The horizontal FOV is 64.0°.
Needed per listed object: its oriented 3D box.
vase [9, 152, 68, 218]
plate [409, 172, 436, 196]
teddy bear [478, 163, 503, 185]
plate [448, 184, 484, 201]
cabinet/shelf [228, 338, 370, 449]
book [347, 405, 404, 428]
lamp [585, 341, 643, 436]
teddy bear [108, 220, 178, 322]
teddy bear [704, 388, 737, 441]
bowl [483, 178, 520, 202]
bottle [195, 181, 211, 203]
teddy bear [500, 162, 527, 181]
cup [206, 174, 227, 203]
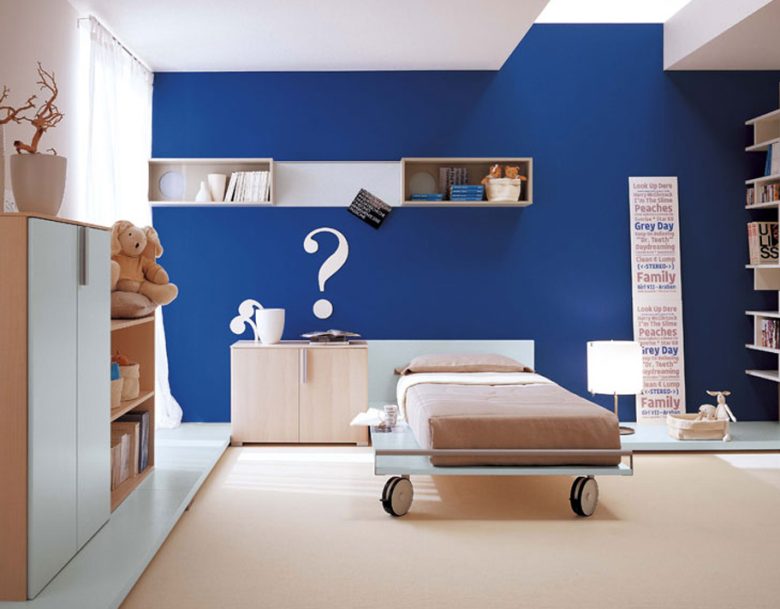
[{"bbox_3d":[-1.753,-0.579,3.196,0.316,0.377,0.321,1,1,-31],"label":"vase"},{"bbox_3d":[0.284,-1.085,5.622,0.207,0.219,0.047,-21,4,-5],"label":"plate"},{"bbox_3d":[0.935,-1.140,5.546,0.073,0.218,0.161,18,-7,-32],"label":"teddy bear"},{"bbox_3d":[0.669,-0.979,5.489,0.289,0.150,0.154,0,8,-2],"label":"plate"},{"bbox_3d":[-0.766,0.475,5.409,1.307,1.002,0.727,0,-3,-1],"label":"cabinet/shelf"},{"bbox_3d":[-0.109,0.870,4.889,0.345,0.124,0.279,-2,-2,2],"label":"book"},{"bbox_3d":[1.900,0.663,5.265,0.494,0.803,0.502,-5,5,-11],"label":"lamp"},{"bbox_3d":[-1.700,-0.246,4.100,0.537,0.668,0.373,6,-2,-27],"label":"teddy bear"},{"bbox_3d":[2.769,0.926,5.245,0.349,0.574,0.193,4,-1,-40],"label":"teddy bear"},{"bbox_3d":[1.004,-1.000,5.503,0.314,0.214,0.224,1,8,6],"label":"bowl"},{"bbox_3d":[-1.643,-0.989,5.499,0.136,0.190,0.188,-3,8,-20],"label":"bottle"},{"bbox_3d":[1.092,-1.185,5.553,0.168,0.076,0.184,-3,39,-31],"label":"teddy bear"},{"bbox_3d":[-1.519,-1.018,5.495,0.209,0.252,0.211,0,2,0],"label":"cup"}]
